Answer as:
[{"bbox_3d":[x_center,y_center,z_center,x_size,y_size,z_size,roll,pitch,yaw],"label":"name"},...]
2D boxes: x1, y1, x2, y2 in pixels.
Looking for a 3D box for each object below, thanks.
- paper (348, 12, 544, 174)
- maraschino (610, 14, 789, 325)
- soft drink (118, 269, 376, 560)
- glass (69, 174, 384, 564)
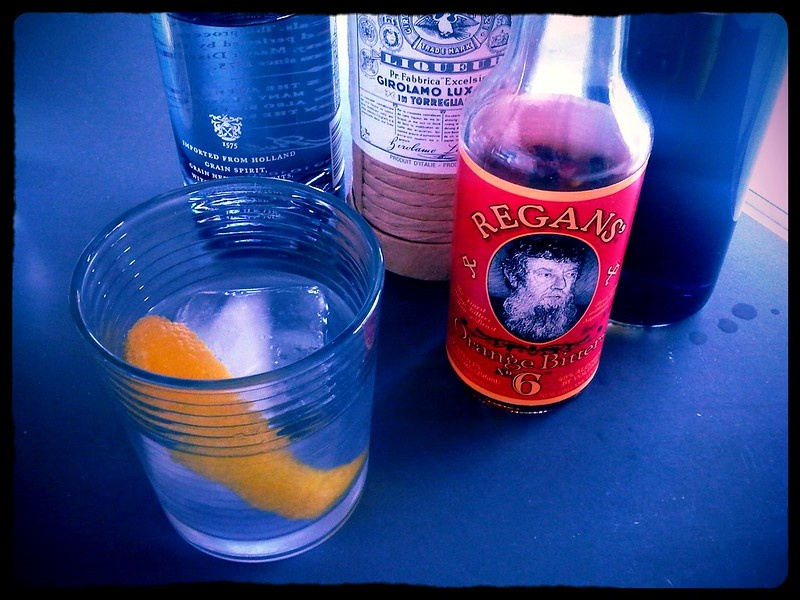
[{"bbox_3d":[0.014,-0.153,0.541,0.116,0.117,0.038,16,40,22],"label":"paper"},{"bbox_3d":[0.198,-0.090,0.523,0.101,0.219,0.036,9,38,13],"label":"maraschino"},{"bbox_3d":[-0.099,0.072,0.492,0.143,0.145,0.134,-22,35,-32],"label":"soft drink"},{"bbox_3d":[-0.092,0.054,0.564,0.250,0.266,0.235,-1,50,-2],"label":"glass"}]
